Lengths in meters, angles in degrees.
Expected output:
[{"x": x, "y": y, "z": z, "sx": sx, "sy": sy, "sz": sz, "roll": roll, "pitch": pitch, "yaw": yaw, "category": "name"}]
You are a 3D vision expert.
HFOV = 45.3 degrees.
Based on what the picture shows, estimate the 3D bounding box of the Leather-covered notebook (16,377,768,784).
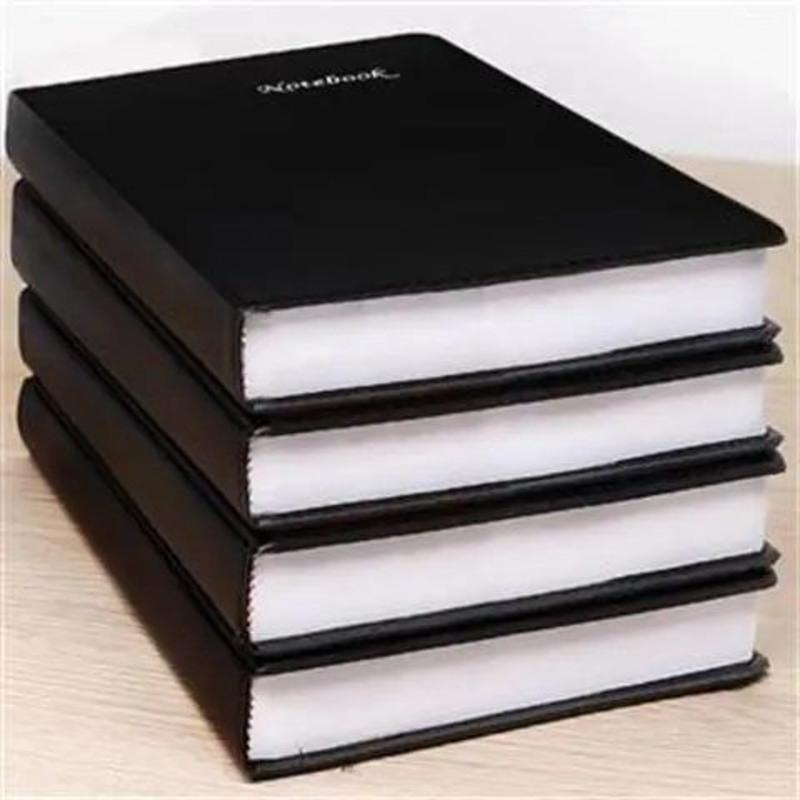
[{"x": 0.021, "y": 0.074, "z": 0.446, "sx": 0.206, "sy": 0.039, "sz": 0.183, "roll": -6, "pitch": 18, "yaw": -28, "category": "Leather-covered notebook"}]

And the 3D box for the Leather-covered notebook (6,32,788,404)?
[{"x": -0.042, "y": -0.084, "z": 0.540, "sx": 0.278, "sy": 0.055, "sz": 0.353, "roll": -10, "pitch": 23, "yaw": -23, "category": "Leather-covered notebook"}]
